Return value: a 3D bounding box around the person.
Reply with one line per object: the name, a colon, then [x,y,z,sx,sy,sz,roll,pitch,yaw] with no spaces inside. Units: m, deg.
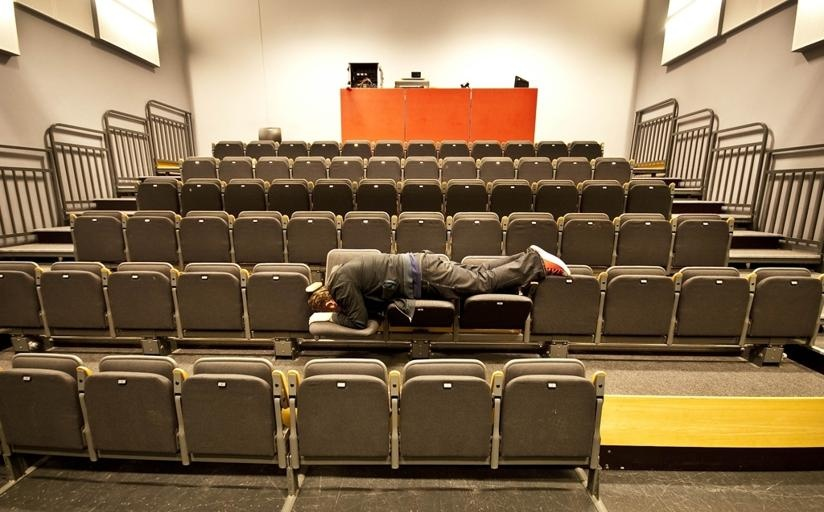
person: [0.622,0.322,6.571,3.821,0.958,0.999,-4,19,1]
